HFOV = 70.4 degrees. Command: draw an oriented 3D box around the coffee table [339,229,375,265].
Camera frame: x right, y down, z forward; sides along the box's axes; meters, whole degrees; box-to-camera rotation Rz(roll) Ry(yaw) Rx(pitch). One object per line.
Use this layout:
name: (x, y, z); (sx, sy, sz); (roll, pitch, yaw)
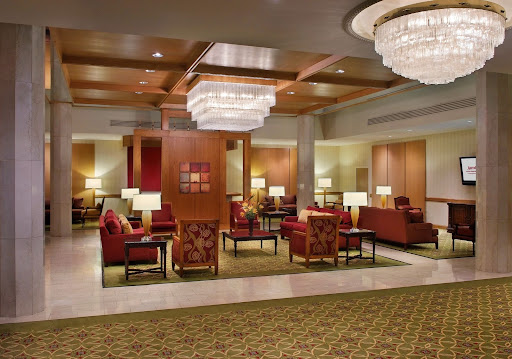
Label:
coffee table: (2.384, 1.563, 8.664); (0.899, 0.595, 0.875); (-2, -12, 13)

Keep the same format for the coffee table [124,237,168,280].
coffee table: (-2.215, 1.575, 7.388); (0.803, 0.765, 0.718); (-1, 2, -14)

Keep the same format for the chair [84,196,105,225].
chair: (-6.679, 1.324, 14.992); (1.018, 1.028, 0.875); (-1, -7, -36)

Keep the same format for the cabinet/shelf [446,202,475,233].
cabinet/shelf: (7.097, 1.402, 12.657); (0.559, 1.171, 1.411); (9, -2, 28)

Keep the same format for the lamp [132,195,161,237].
lamp: (-2.355, 0.780, 7.861); (0.504, 0.960, 0.934); (-1, 2, -18)

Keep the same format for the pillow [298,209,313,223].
pillow: (1.415, 1.052, 10.420); (0.161, 0.341, 0.377); (22, -6, -33)

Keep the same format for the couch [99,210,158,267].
couch: (-2.906, 1.409, 8.348); (1.171, 0.726, 1.926); (0, 3, -22)

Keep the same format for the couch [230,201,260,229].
couch: (-0.377, 1.228, 11.732); (0.894, 0.923, 0.878); (0, 6, -27)

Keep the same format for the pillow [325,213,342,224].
pillow: (1.785, 0.835, 8.256); (0.378, 0.312, 0.172); (3, 18, 40)

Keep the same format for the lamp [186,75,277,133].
lamp: (-0.705, -1.880, 10.252); (2.750, 0.886, 2.564); (3, -11, -28)

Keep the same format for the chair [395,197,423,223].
chair: (5.020, 0.975, 11.955); (0.756, 1.065, 0.748); (-1, -7, -9)

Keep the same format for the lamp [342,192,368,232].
lamp: (2.393, 0.763, 8.794); (0.676, 0.788, 0.600); (3, -11, -9)

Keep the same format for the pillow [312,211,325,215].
pillow: (1.646, 0.904, 9.838); (0.222, 0.070, 0.273); (1, 0, -4)

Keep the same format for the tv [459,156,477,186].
tv: (7.507, -0.303, 12.863); (0.261, 1.027, 0.591); (-1, 2, -12)
